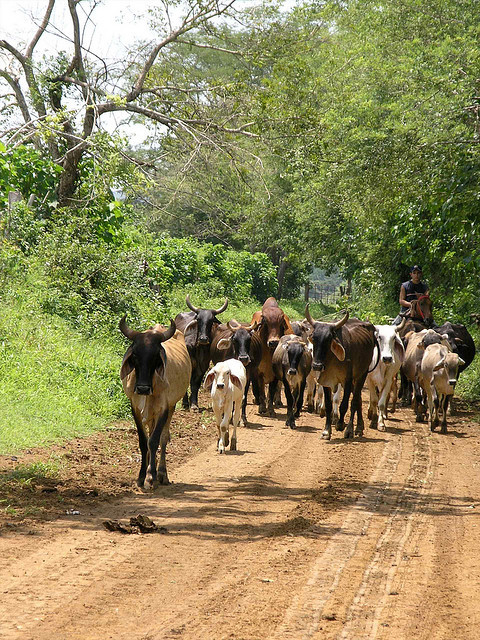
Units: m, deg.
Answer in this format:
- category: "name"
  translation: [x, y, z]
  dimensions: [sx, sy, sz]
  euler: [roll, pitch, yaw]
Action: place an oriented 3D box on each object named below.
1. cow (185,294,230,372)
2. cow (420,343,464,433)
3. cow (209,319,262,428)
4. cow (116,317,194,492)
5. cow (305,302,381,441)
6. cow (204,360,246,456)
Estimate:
- category: "cow"
  translation: [-0.679, 0.412, 14.464]
  dimensions: [0.798, 1.455, 2.183]
  euler: [4, -1, -2]
- category: "cow"
  translation: [3.349, 1.118, 12.632]
  dimensions: [0.579, 1.390, 0.973]
  euler: [2, 2, 6]
- category: "cow"
  translation: [-0.010, 0.479, 13.469]
  dimensions: [0.708, 1.278, 2.237]
  euler: [-3, 12, 0]
- category: "cow"
  translation: [-0.992, 0.919, 8.937]
  dimensions: [0.777, 1.870, 2.486]
  euler: [2, 2, -4]
- category: "cow"
  translation: [1.783, 0.875, 12.678]
  dimensions: [0.757, 2.023, 3.386]
  euler: [-1, -2, 25]
- category: "cow"
  translation: [-0.224, 1.188, 10.833]
  dimensions: [0.556, 1.225, 1.676]
  euler: [2, 2, 0]
